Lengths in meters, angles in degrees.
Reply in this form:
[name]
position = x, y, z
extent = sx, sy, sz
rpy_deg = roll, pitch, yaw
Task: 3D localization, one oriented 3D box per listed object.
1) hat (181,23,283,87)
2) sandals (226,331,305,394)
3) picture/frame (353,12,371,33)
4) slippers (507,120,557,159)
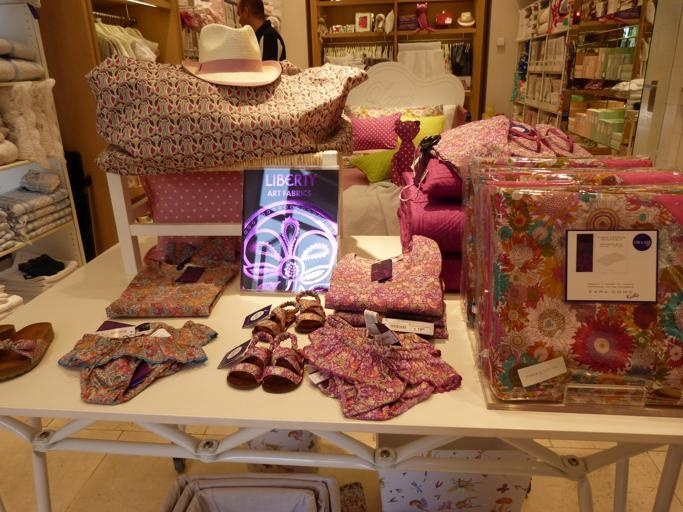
[hat]
position = -0.377, -0.678, 1.714
extent = 0.233, 0.117, 0.294
rpy_deg = -11, 34, -28
[sandals]
position = -0.199, 0.281, 1.363
extent = 0.201, 0.072, 0.194
rpy_deg = 2, 26, 9
[picture/frame]
position = 0.258, -2.758, 5.869
extent = 0.195, 0.185, 0.115
rpy_deg = -2, 25, 2
[slippers]
position = 0.681, -0.416, 1.819
extent = 0.156, 0.061, 0.193
rpy_deg = 3, 44, 0
